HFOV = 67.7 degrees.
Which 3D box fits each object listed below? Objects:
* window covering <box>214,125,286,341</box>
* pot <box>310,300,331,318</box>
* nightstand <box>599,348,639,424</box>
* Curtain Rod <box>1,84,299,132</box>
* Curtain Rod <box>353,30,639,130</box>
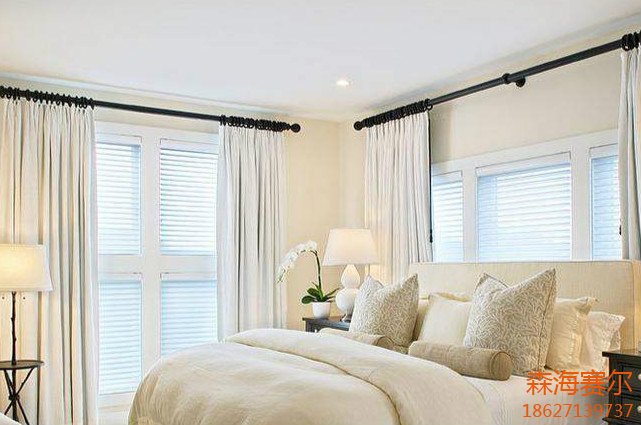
[{"bbox_3d":[-0.815,0.164,5.562,0.712,2.489,0.455,2,-3,-30],"label":"window covering"},{"bbox_3d":[-0.002,1.101,5.498,0.197,0.135,0.181,1,-7,0],"label":"pot"},{"bbox_3d":[1.951,1.116,3.180,0.263,0.448,0.167,-1,1,-37],"label":"nightstand"},{"bbox_3d":[-1.834,-1.116,5.062,2.629,0.229,0.320,3,-3,-31],"label":"Curtain Rod"},{"bbox_3d":[1.541,-1.208,4.695,0.229,0.193,2.713,3,-9,-43],"label":"Curtain Rod"}]
